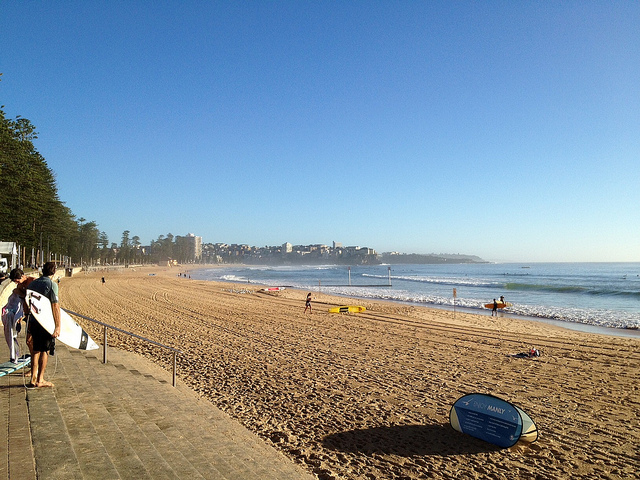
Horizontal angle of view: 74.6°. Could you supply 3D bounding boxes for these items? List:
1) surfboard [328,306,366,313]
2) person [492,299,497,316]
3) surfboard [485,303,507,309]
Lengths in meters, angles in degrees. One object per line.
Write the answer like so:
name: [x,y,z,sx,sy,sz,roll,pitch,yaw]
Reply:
surfboard: [1.827,4.583,27.770,2.232,0.372,0.457,0,-1,0]
person: [11.730,4.524,28.224,0.266,0.946,1.622,1,-2,22]
surfboard: [12.470,4.709,29.989,1.310,0.405,0.870,0,-3,29]
